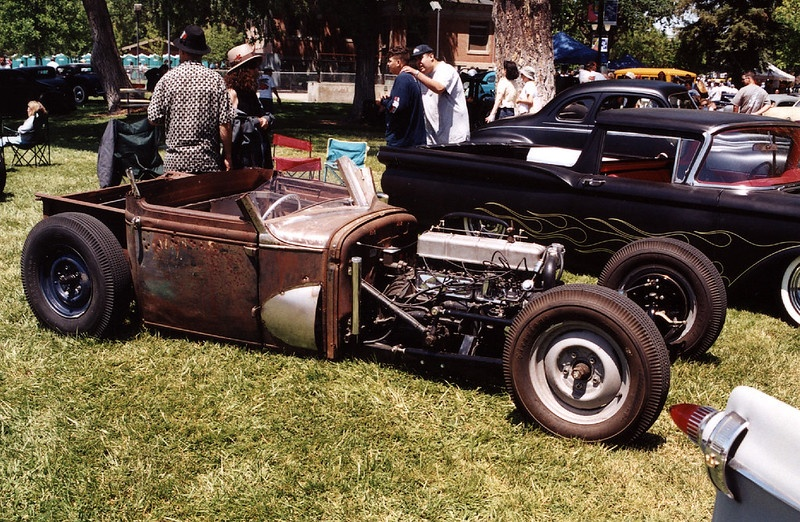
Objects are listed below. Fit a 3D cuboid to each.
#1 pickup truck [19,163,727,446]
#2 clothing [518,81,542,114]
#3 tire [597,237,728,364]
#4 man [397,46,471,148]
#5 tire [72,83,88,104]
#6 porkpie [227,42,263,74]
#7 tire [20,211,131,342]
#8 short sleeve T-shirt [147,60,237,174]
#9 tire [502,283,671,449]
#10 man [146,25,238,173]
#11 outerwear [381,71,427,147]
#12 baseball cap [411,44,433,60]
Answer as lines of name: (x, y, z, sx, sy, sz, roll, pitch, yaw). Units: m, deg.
pickup truck: (-0.519, 0.151, 6.938, 6.241, 2.155, 2.978, 8, 20, 19)
clothing: (2.539, -3.213, 14.071, 0.316, 0.575, 0.549, -3, 9, 9)
tire: (2.604, 0.260, 6.829, 1.168, 1.277, 0.388, 30, 22, 23)
man: (0.422, -2.408, 10.307, 0.946, 1.442, 0.835, 1, 16, 26)
tire: (-14.354, -7.453, 31.707, 0.467, 0.774, 0.879, -4, 23, -21)
porkpie: (-2.025, -2.601, 9.005, 0.412, 0.175, 0.387, -26, 12, 5)
tire: (-3.304, 0.125, 7.180, 1.194, 1.356, 0.437, 12, 18, 21)
short sleeve T-shirt: (-2.427, -1.640, 8.214, 0.888, 1.252, 0.662, -1, 4, -10)
tire: (1.504, 0.902, 5.848, 0.987, 1.144, 0.378, 12, 8, 23)
man: (-2.508, -1.567, 8.328, 0.951, 2.295, 0.792, -2, 24, -24)
outerwear: (0.046, -2.075, 10.095, 0.641, 1.137, 0.779, -1, -11, 17)
baseball cap: (0.317, -2.953, 9.986, 0.283, 0.163, 0.218, 0, 14, -2)
